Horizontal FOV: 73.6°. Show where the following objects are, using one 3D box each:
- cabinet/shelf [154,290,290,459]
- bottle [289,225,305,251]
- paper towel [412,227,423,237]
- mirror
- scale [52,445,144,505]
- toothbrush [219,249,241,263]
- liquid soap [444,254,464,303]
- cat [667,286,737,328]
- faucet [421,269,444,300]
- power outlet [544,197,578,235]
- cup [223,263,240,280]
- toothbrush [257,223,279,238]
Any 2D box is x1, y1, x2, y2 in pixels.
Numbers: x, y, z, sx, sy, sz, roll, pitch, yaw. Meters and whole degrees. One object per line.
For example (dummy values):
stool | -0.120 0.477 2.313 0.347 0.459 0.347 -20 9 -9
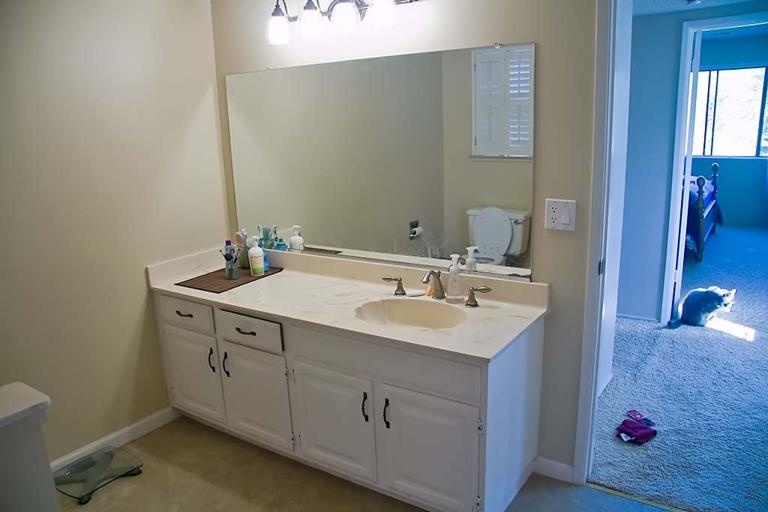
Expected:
cabinet/shelf | -1.018 0.751 3.323 0.936 0.847 0.462 5 12 27
bottle | -0.615 -0.132 3.664 0.111 0.200 0.113 1 20 0
paper towel | 0.211 -0.148 3.264 0.073 0.069 0.014 7 18 25
mirror | 0.040 -0.634 3.263 1.564 0.992 0.020 7 19 30
scale | -1.808 1.383 3.270 0.454 0.119 0.346 -14 21 -40
toothbrush | -1.068 -0.001 3.591 0.092 0.125 0.124 -4 -7 -35
liquid soap | 0.433 0.127 3.104 0.106 0.256 0.199 2 16 7
cat | 2.932 0.467 4.802 0.696 0.318 0.265 -3 16 -8
faucet | 0.308 0.164 3.127 0.139 0.165 0.186 1 16 7
power outlet | 1.003 -0.233 2.890 0.189 0.217 0.038 4 10 28
cup | -1.065 0.106 3.595 0.102 0.115 0.101 1 7 0
toothbrush | -0.843 -0.185 3.747 0.106 0.110 0.043 2 5 16
